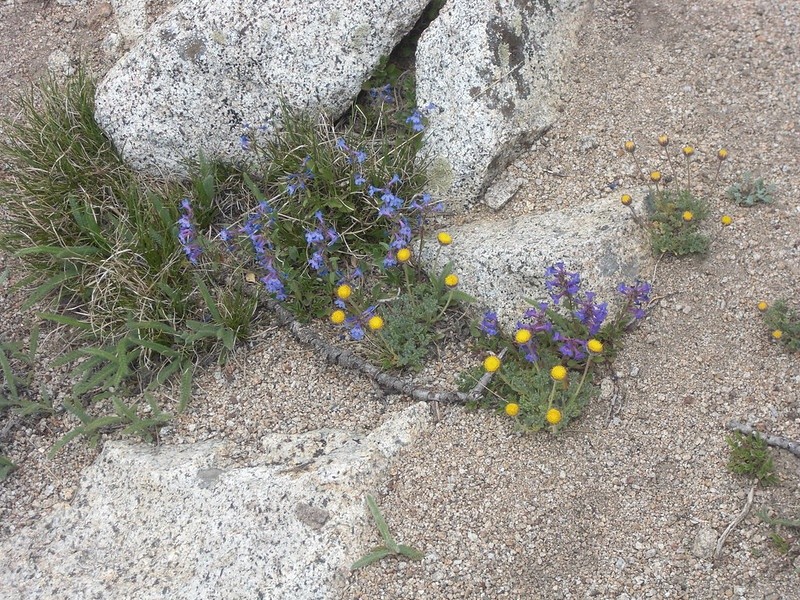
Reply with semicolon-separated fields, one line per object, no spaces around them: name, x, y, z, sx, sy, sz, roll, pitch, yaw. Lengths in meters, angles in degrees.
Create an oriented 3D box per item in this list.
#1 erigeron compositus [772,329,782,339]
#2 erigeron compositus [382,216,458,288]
erigeron compositus;2.380;0.220;4.669;0.020;0.058;0.052;-15;43;-40
erigeron compositus;0.052;-0.281;5.120;0.332;0.170;0.621;-7;78;6
